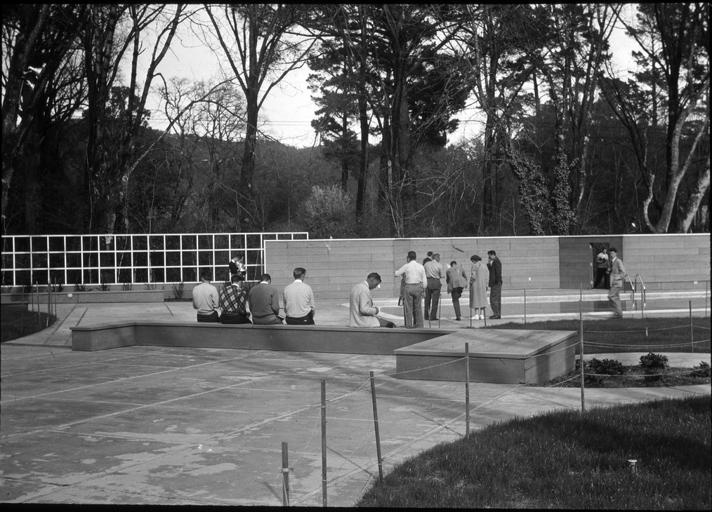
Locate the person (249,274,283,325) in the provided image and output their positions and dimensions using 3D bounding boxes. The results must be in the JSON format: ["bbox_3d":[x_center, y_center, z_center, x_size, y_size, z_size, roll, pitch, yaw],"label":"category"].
[{"bbox_3d":[-2.342,1.181,26.297,0.709,1.431,0.908,-2,-7,18],"label":"person"}]

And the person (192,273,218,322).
[{"bbox_3d":[-4.054,1.180,27.378,0.707,1.403,0.973,-3,-7,14],"label":"person"}]

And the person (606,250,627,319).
[{"bbox_3d":[8.305,0.856,31.871,0.531,2.183,0.718,0,-2,18],"label":"person"}]

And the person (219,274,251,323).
[{"bbox_3d":[-3.104,1.192,26.694,0.846,1.375,0.966,-1,-3,-19],"label":"person"}]
